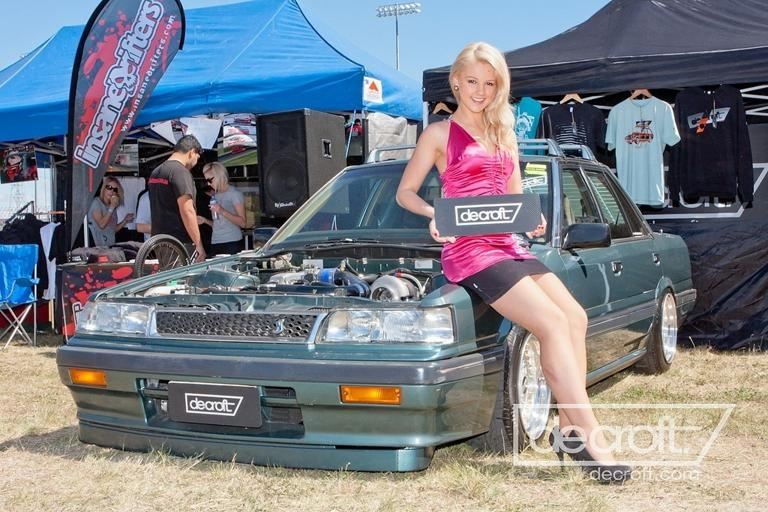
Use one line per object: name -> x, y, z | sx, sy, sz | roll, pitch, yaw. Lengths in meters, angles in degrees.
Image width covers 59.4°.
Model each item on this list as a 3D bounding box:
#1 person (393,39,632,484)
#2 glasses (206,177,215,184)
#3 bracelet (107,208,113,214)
person -> 0.746, 0.046, 4.205 | 1.310, 2.684, 0.488 | -1, 5, -4
glasses -> -2.320, -1.028, 9.010 | 0.093, 0.123, 0.039 | -13, -2, -9
bracelet -> -4.250, -0.696, 10.496 | 0.067, 0.090, 0.091 | 3, 1, -1
